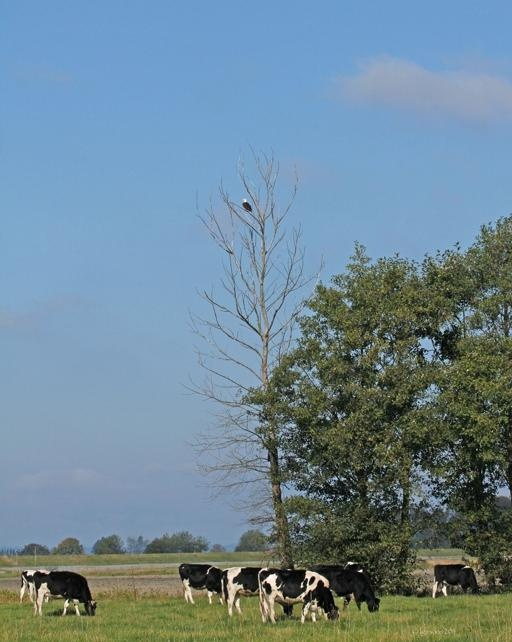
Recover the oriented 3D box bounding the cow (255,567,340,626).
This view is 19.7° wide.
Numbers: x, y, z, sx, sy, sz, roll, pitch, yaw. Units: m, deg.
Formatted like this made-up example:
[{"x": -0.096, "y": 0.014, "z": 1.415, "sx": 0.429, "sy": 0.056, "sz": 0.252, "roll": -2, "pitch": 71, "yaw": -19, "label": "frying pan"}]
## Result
[{"x": 1.556, "y": 10.516, "z": 56.170, "sx": 2.847, "sy": 2.067, "sz": 1.531, "roll": -2, "pitch": -10, "yaw": 0, "label": "cow"}]
